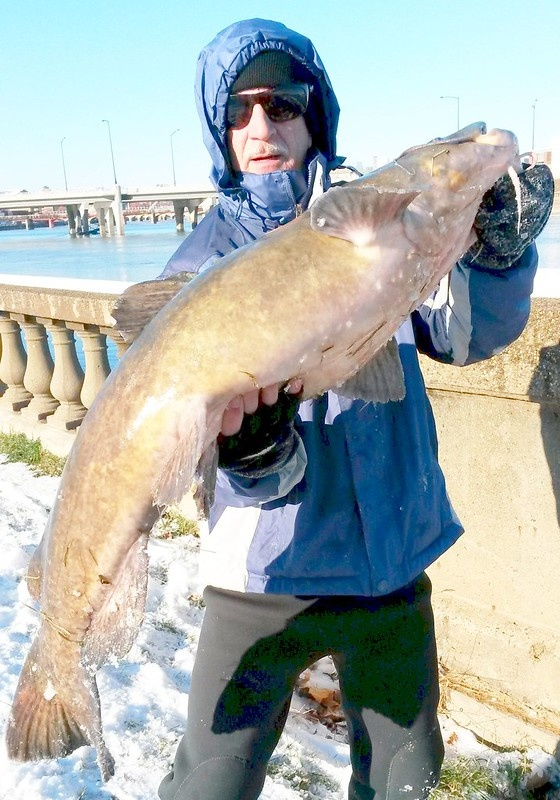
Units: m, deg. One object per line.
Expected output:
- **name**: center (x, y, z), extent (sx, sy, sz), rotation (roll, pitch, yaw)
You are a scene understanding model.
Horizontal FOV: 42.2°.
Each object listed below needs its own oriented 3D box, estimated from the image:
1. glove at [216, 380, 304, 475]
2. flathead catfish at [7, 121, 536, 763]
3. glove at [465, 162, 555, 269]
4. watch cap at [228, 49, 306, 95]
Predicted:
- **glove**: center (-0.056, 0.075, 2.040), extent (0.346, 0.242, 0.213), rotation (-17, 22, -42)
- **flathead catfish**: center (-0.116, 0.183, 2.028), extent (1.501, 1.755, 0.454), rotation (-6, 10, -11)
- **glove**: center (0.644, -0.513, 1.989), extent (0.116, 0.219, 0.286), rotation (26, 64, 30)
- **watch cap**: center (-0.041, -1.136, 2.511), extent (0.204, 0.141, 0.141), rotation (-24, 35, -39)
